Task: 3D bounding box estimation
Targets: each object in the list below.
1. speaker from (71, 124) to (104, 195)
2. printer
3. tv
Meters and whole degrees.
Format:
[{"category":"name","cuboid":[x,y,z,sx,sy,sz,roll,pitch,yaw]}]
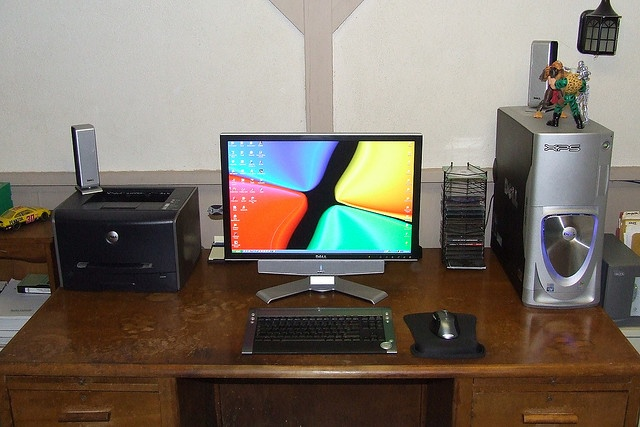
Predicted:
[{"category":"speaker","cuboid":[-1.015,-0.235,2.349,0.103,0.284,0.139,-11,17,-36]},{"category":"printer","cuboid":[-0.777,0.126,2.369,0.550,0.384,0.401,0,14,-1]},{"category":"tv","cuboid":[0.003,0.006,2.143,0.654,0.565,0.176,0,11,0]}]
